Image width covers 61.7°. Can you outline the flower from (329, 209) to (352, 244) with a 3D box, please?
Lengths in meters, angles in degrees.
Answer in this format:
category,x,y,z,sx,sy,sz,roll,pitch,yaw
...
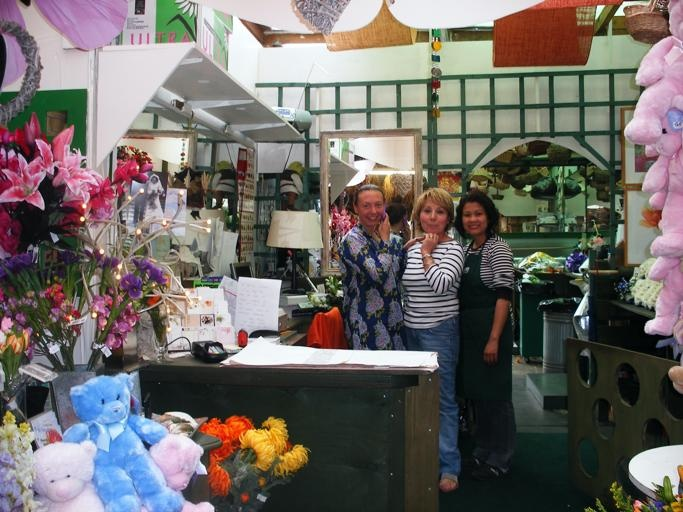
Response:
category,x,y,z,sx,sy,sz,roll,pitch,yaw
flower,-0.018,-0.264,4.791,0.226,0.251,0.098,-6,-18,15

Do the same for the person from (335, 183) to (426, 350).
category,x,y,z,sx,sy,sz,roll,pitch,yaw
person,0.186,0.056,3.165,0.425,0.905,0.309,2,0,0

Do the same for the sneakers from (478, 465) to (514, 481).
category,x,y,z,sx,sy,sz,roll,pitch,yaw
sneakers,0.899,1.276,3.401,0.211,0.098,0.078,-1,5,0

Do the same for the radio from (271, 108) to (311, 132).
category,x,y,z,sx,sy,sz,roll,pitch,yaw
radio,-0.391,-1.148,4.748,0.336,0.152,0.260,11,-2,-29

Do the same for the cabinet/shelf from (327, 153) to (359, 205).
category,x,y,z,sx,sy,sz,roll,pitch,yaw
cabinet/shelf,-0.031,-0.657,4.870,0.238,0.333,0.367,5,-23,11

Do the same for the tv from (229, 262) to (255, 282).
category,x,y,z,sx,sy,sz,roll,pitch,yaw
tv,-0.676,0.103,3.840,0.043,0.118,0.170,3,1,25

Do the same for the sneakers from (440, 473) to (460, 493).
category,x,y,z,sx,sy,sz,roll,pitch,yaw
sneakers,0.586,1.247,3.135,0.084,0.059,0.116,-2,0,-21

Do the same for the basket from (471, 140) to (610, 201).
category,x,y,z,sx,sy,sz,roll,pitch,yaw
basket,2.611,-0.845,7.325,1.242,0.323,1.196,0,-25,3
